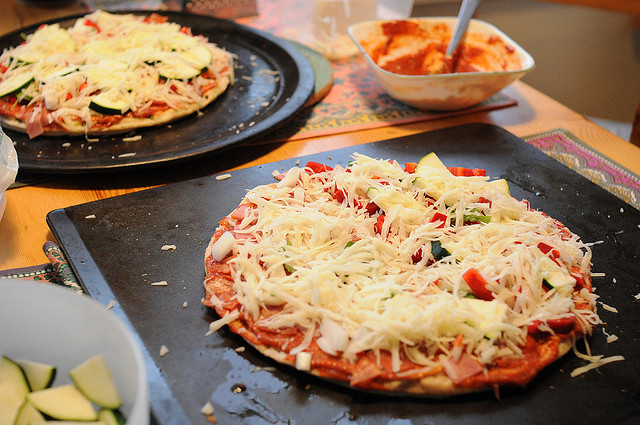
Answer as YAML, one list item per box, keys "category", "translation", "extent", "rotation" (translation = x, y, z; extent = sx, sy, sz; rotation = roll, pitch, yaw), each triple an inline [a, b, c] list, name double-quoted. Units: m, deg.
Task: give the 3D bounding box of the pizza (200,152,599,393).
- category: "pizza"
  translation: [0.241, 0.144, 1.559]
  extent: [1.166, 0.164, 0.755]
  rotation: [12, 56, 4]

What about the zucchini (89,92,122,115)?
- category: "zucchini"
  translation: [-0.841, -0.418, 2.080]
  extent: [0.102, 0.022, 0.092]
  rotation: [7, 42, -12]

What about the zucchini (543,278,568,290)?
- category: "zucchini"
  translation: [0.670, 0.201, 1.501]
  extent: [0.043, 0.009, 0.037]
  rotation: [1, 37, 6]

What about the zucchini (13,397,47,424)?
- category: "zucchini"
  translation: [-0.662, 0.452, 1.208]
  extent: [0.055, 0.013, 0.051]
  rotation: [1, 75, 22]

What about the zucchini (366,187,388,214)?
- category: "zucchini"
  translation: [0.173, -0.039, 1.677]
  extent: [0.044, 0.025, 0.083]
  rotation: [6, 53, -53]

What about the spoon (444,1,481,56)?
- category: "spoon"
  translation: [0.589, -0.774, 2.251]
  extent: [0.088, 0.262, 0.126]
  rotation: [12, 11, 39]
